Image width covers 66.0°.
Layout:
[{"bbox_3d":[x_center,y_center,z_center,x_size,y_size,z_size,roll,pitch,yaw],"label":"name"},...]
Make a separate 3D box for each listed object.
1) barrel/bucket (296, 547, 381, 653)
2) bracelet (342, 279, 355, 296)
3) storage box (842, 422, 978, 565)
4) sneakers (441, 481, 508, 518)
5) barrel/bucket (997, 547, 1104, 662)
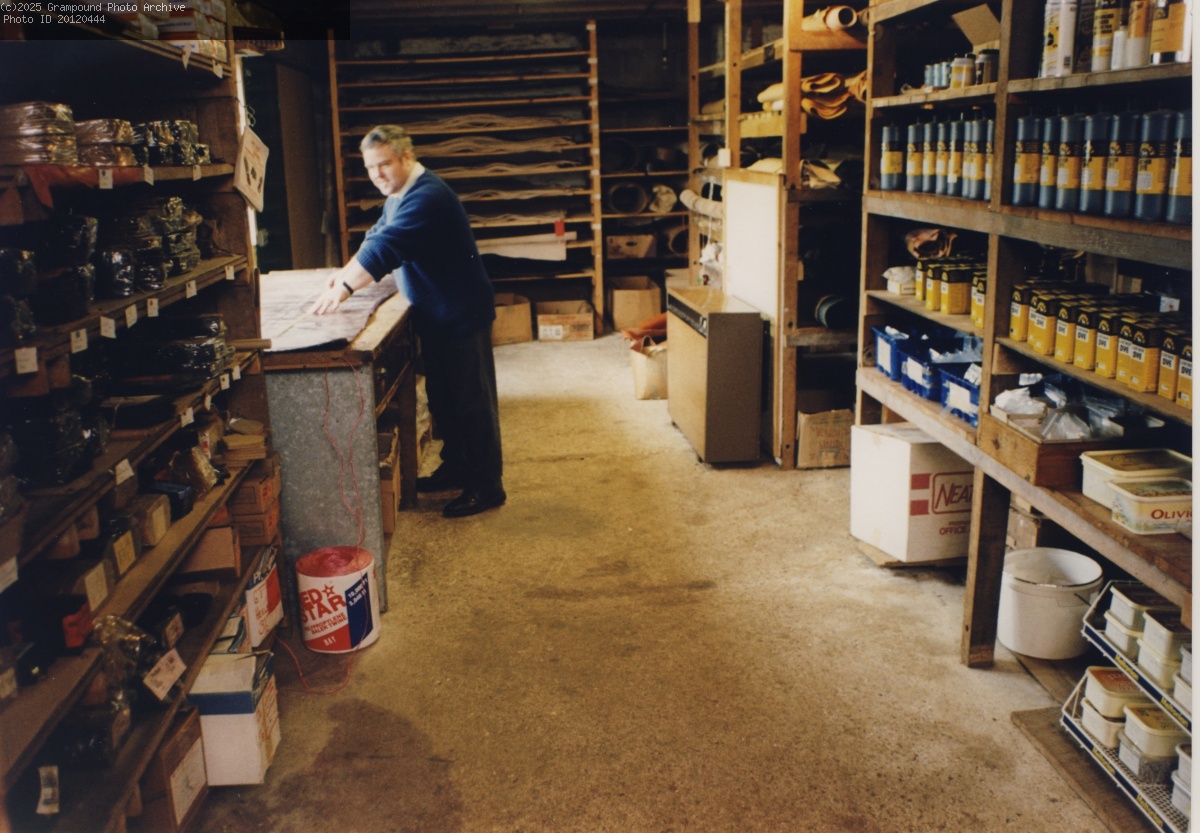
[{"bbox_3d":[-1.014,0.739,3.882,0.400,0.408,0.385,0,12,0],"label":"barrel/bucket"},{"bbox_3d":[-1.171,-0.608,4.327,0.038,0.066,0.050,-13,32,-40],"label":"bracelet"},{"bbox_3d":[1.517,0.322,4.336,0.565,0.505,0.387,-3,10,-25],"label":"storage box"},{"bbox_3d":[-0.667,0.434,5.058,0.375,0.136,0.134,-5,14,-36],"label":"sneakers"},{"bbox_3d":[1.752,0.714,3.728,0.447,0.324,0.458,-1,13,0],"label":"barrel/bucket"}]
